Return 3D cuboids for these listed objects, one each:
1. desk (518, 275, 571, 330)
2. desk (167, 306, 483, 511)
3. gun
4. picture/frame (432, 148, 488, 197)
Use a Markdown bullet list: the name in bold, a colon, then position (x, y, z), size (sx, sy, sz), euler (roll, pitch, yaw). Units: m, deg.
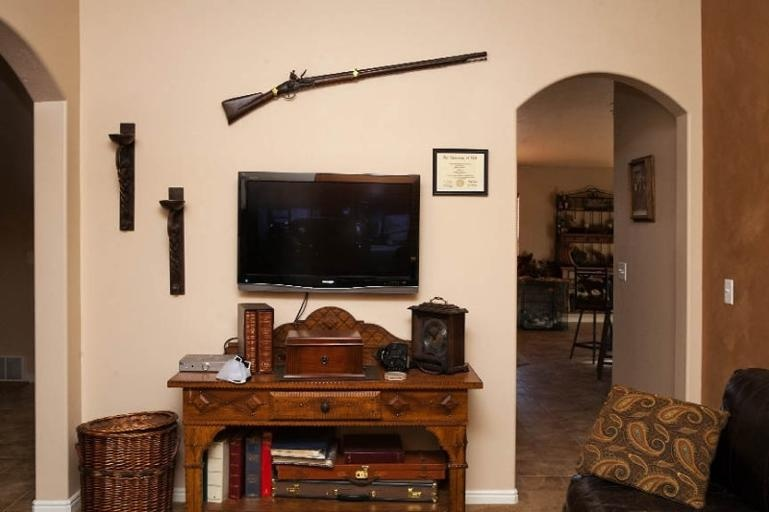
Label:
- **desk**: position (2.537, 0.780, 11.111), size (0.895, 0.897, 0.902), euler (0, -5, 4)
- **desk**: position (-0.448, 1.060, 4.594), size (1.381, 0.930, 0.517), euler (0, -5, -1)
- **gun**: position (-0.315, -1.238, 4.924), size (1.839, 0.319, 0.203), euler (-7, -28, 1)
- **picture/frame**: position (0.547, -0.620, 4.938), size (0.336, 0.293, 0.026), euler (-1, 3, -3)
